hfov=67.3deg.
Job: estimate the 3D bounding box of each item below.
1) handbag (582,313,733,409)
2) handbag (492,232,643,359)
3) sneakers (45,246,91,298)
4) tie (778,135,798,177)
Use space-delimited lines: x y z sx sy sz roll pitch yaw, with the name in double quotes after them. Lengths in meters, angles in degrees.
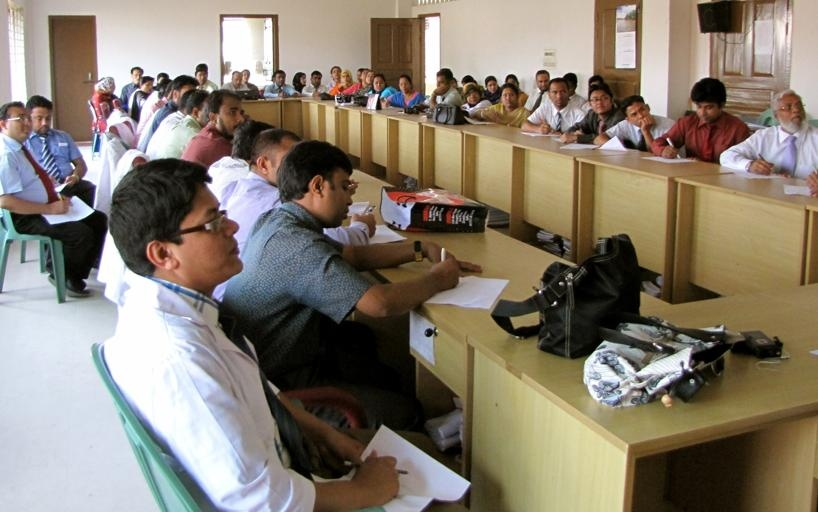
0.878 0.327 2.044 0.434 0.148 0.471 -16 10 38 "handbag"
0.615 0.135 2.285 0.484 0.369 0.528 -5 9 -2 "handbag"
-2.793 0.132 4.916 0.247 0.286 0.669 2 11 -8 "sneakers"
2.847 -0.744 4.581 0.103 0.042 0.414 9 59 33 "tie"
